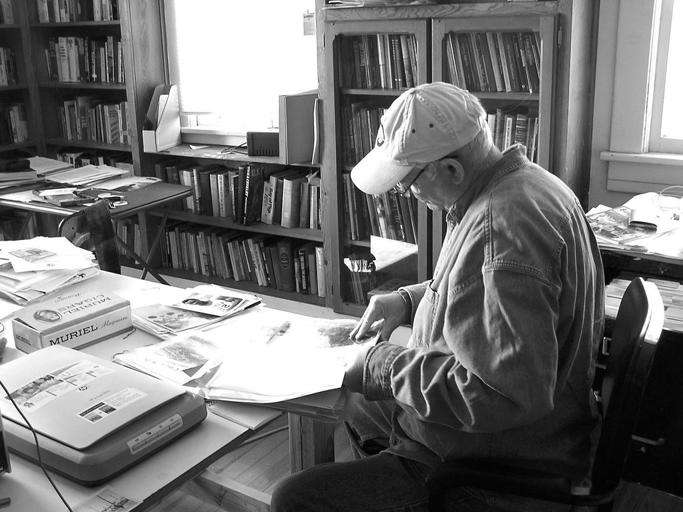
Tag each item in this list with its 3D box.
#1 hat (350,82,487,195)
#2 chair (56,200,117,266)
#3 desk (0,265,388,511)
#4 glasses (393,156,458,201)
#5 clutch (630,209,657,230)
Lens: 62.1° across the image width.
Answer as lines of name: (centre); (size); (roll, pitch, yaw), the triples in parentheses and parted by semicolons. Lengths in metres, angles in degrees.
hat: (0.210, -0.280, 1.564); (0.374, 0.169, 0.239); (-30, 38, 10)
chair: (-1.427, -0.128, 3.179); (0.256, 0.362, 0.729); (-12, 19, -29)
desk: (-0.442, 0.403, 1.652); (0.756, 0.442, 0.758); (14, 27, 26)
glasses: (0.224, -0.202, 1.529); (0.113, 0.031, 0.109); (-38, 2, 16)
clutch: (1.337, -0.159, 2.498); (0.109, 0.027, 0.117); (11, 35, 19)
